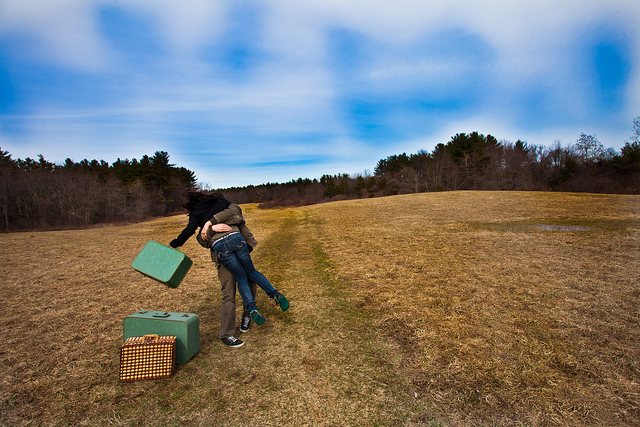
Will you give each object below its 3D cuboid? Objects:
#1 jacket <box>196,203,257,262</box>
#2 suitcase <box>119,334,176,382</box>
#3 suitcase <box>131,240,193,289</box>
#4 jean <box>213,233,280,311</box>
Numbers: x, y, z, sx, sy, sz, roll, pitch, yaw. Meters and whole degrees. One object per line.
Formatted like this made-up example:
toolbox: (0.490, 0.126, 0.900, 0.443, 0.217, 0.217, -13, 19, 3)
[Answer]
jacket: (-2.480, 0.519, 9.716, 1.350, 1.627, 1.606, -5, 42, -25)
suitcase: (-4.032, 3.342, 8.526, 1.096, 0.959, 0.633, 1, -2, -13)
suitcase: (-4.150, 1.122, 9.338, 0.849, 0.573, 1.205, 36, -25, -15)
jean: (-1.969, 1.454, 9.231, 1.366, 1.981, 0.585, 3, 15, 15)
